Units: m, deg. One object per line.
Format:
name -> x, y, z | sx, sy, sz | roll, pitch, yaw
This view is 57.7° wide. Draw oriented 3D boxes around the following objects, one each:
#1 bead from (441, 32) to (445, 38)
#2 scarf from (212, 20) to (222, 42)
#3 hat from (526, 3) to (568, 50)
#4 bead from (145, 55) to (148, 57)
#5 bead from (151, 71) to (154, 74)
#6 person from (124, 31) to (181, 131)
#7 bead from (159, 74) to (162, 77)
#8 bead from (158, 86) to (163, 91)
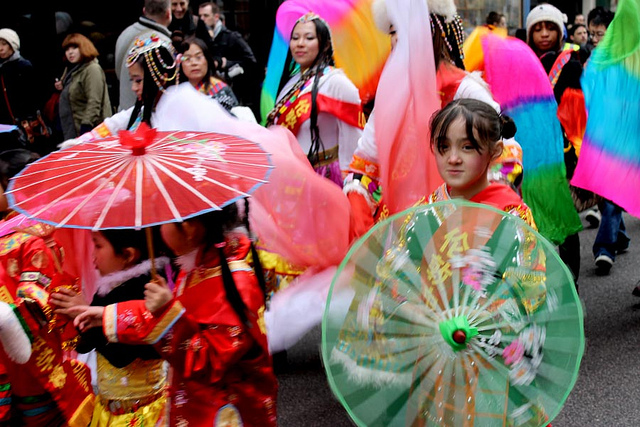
bead -> 0.704, -1.008, 3.340 | 0.009, 0.026, 0.025 | 15, 27, 41
scarf -> -1.385, -2.484, 8.007 | 0.178, 0.250, 0.089 | -1, -17, 44
hat -> 2.116, -1.725, 5.458 | 0.340, 0.410, 0.421 | 3, 14, 11
bead -> -1.218, -1.088, 4.098 | 0.018, 0.012, 0.013 | -2, 21, 6
bead -> -1.169, -0.969, 4.078 | 0.014, 0.014, 0.005 | 18, 1, 1
person -> -1.207, -0.904, 4.136 | 0.412, 0.566, 0.823 | -6, 21, -7
bead -> -1.116, -0.950, 4.084 | 0.013, 0.013, 0.005 | -15, -7, -4
bead -> -1.102, -0.852, 4.054 | 0.023, 0.025, 0.027 | -8, 21, -10
